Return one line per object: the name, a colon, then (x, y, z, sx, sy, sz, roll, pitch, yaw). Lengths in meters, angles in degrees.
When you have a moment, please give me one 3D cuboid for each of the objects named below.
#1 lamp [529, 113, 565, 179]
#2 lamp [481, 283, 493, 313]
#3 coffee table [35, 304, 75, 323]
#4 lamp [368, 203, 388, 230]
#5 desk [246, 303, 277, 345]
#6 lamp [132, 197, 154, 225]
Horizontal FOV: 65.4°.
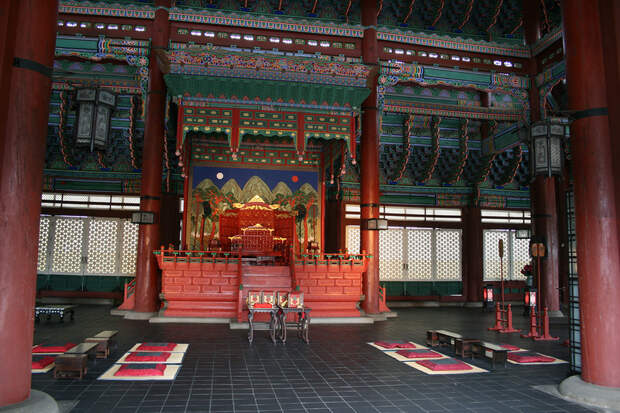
lamp: (4.358, -1.149, 9.164, 0.806, 1.062, 0.755, -6, 3, -27)
lamp: (4.936, 2.492, 13.425, 0.238, 0.673, 0.809, 1, 1, 20)
coffee table: (-5.644, 2.310, 10.722, 0.753, 0.414, 1.114, 1, 1, -26)
lamp: (1.597, 0.351, 11.595, 0.374, 0.660, 0.368, 0, -2, 5)
desk: (-0.898, 2.166, 9.254, 0.626, 0.834, 0.731, 1, -12, -7)
lamp: (-3.783, 0.175, 10.935, 0.392, 0.694, 0.381, -1, -5, 10)
